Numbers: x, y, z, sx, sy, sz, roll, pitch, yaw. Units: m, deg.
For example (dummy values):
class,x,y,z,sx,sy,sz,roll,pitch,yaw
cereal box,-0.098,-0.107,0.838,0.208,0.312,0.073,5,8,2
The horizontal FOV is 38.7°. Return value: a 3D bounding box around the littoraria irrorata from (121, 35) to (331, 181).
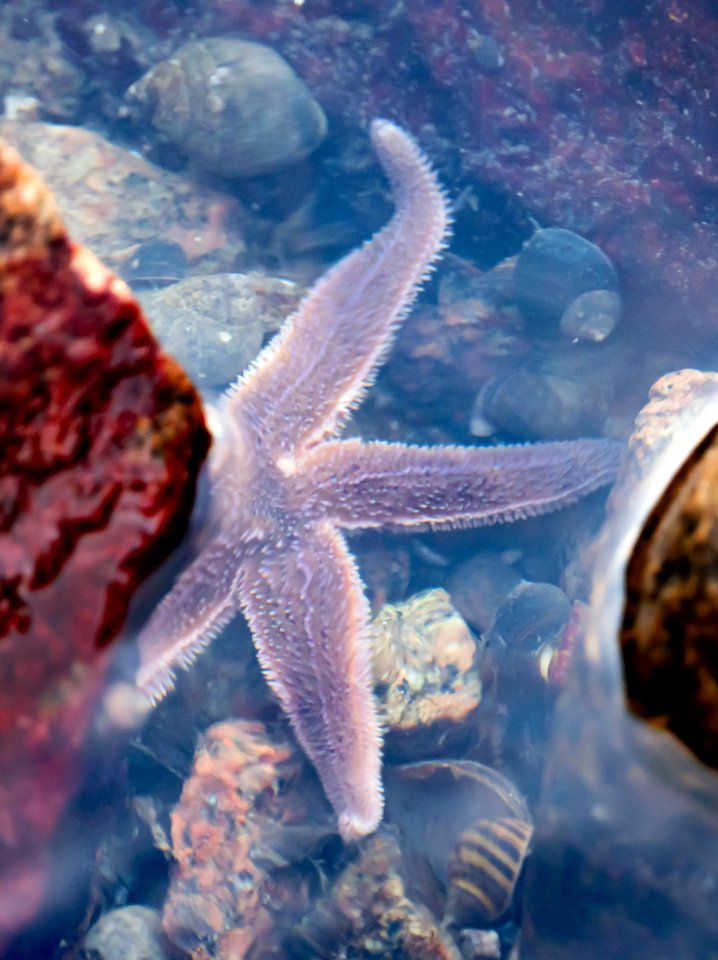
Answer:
class,x,y,z,sx,sy,sz,roll,pitch,yaw
littoraria irrorata,-0.303,-0.868,2.403,0.370,0.114,0.379,-26,69,-19
